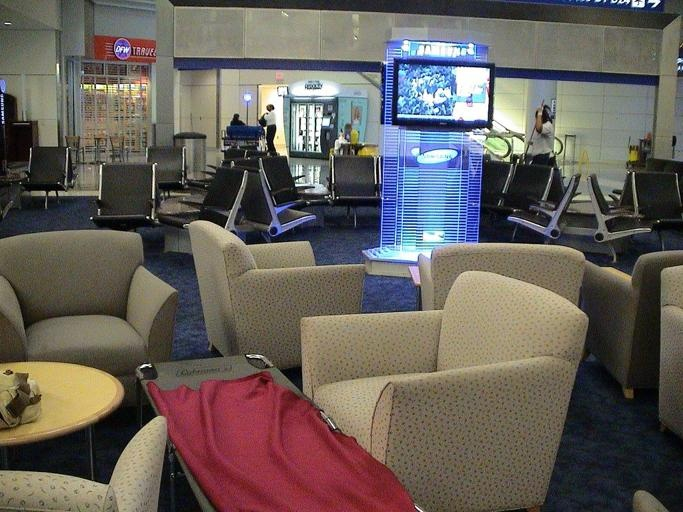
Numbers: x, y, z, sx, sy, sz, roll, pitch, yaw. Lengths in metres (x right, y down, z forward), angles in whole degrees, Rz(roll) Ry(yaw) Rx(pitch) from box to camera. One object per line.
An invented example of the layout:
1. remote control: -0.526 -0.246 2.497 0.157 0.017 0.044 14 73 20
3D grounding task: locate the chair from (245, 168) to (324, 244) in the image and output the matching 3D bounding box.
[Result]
1. chair: -0.896 -0.642 7.097 0.978 1.202 1.073 2 15 12

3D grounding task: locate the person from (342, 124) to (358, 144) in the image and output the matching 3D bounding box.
1. person: 0.280 -3.475 15.271 0.353 0.545 1.288 1 14 -4

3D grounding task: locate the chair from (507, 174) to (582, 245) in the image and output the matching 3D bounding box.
1. chair: 2.655 -0.496 7.144 0.745 1.176 0.640 8 1 23

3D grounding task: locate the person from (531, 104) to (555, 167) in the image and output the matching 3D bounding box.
1. person: 3.883 -2.299 10.191 0.408 1.078 0.416 3 12 4

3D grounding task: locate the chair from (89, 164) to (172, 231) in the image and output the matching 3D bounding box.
1. chair: -2.808 -0.795 6.936 0.822 1.050 0.838 3 -9 -39

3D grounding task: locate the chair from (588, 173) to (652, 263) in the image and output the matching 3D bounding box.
1. chair: 3.628 -0.438 6.919 0.793 1.105 0.790 1 0 -45

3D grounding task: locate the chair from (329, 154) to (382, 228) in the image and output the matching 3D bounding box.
1. chair: 0.237 -1.063 8.861 0.934 1.448 1.012 -1 8 -6

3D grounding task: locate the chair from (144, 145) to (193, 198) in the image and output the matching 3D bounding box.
1. chair: -3.216 -1.599 9.978 0.935 1.357 1.012 -1 6 -15

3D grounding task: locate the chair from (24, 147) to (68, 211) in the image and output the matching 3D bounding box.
1. chair: -5.475 -1.467 9.906 0.757 1.032 0.907 -3 14 -22

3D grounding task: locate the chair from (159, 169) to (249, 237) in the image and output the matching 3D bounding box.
1. chair: -1.750 -0.707 6.575 0.850 1.248 0.929 -2 13 -32
